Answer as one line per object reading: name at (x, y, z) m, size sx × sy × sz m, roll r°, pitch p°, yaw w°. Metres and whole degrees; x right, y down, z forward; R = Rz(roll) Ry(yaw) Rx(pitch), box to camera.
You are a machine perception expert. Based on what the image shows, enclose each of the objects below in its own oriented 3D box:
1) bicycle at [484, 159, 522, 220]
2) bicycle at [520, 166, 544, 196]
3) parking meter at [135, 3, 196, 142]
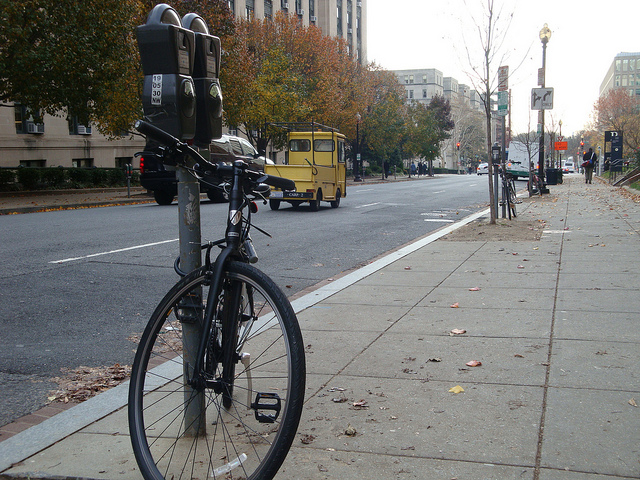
bicycle at (5.082, -1.307, 17.803) m, size 0.861 × 1.473 × 2.385 m, roll -8°, pitch -11°, yaw 18°
bicycle at (9.333, -2.506, 28.223) m, size 0.994 × 1.180 × 1.744 m, roll 0°, pitch 4°, yaw 15°
parking meter at (-0.966, -1.073, 4.180) m, size 0.377 × 0.870 × 0.232 m, roll -4°, pitch 9°, yaw -19°
